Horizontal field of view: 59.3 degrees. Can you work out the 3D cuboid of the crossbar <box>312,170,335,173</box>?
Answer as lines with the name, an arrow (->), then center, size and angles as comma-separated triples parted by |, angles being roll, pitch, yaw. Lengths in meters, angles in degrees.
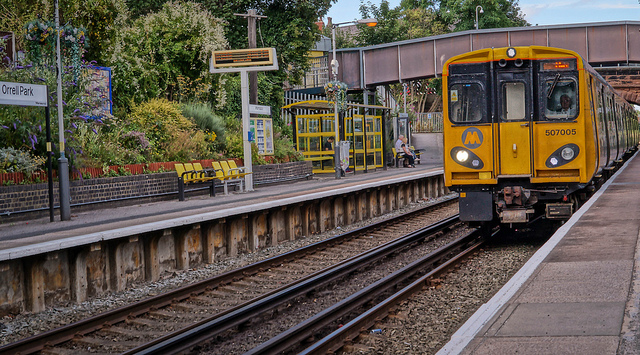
crossbar -> 0.223, -0.352, 31.569 | 1.212, 0.179, 0.128 | 0, 0, 26

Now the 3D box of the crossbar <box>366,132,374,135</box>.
crossbar -> 2.780, -2.469, 31.618 | 0.040, 0.208, 0.788 | 7, 15, 33

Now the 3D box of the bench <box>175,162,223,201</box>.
bench -> -4.967, 0.127, 22.579 | 0.827, 1.405, 2.220 | 2, 3, 19

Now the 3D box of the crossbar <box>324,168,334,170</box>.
crossbar -> 0.481, -0.486, 31.652 | 0.423, 0.078, 0.107 | -1, 7, 10

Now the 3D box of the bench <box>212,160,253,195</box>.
bench -> -3.823, -0.018, 23.856 | 0.765, 1.378, 2.236 | -1, 3, 21

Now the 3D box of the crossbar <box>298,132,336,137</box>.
crossbar -> -0.108, -2.416, 31.244 | 2.228, 0.317, 0.167 | 0, -1, 6

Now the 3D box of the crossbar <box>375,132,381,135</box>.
crossbar -> 3.282, -2.520, 32.351 | 0.043, 0.190, 0.696 | 6, 14, 30

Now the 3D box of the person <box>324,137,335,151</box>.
person -> 0.447, -1.861, 31.272 | 0.593, 1.010, 0.674 | 2, 28, 4

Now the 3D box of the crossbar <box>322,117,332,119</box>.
crossbar -> 0.366, -3.270, 31.087 | 0.518, 0.077, 0.087 | -1, 12, 0

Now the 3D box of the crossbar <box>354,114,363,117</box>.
crossbar -> 2.057, -3.349, 30.654 | 0.459, 0.123, 0.077 | -5, 13, -19

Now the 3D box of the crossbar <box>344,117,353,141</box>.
crossbar -> 1.513, -2.673, 30.931 | 0.420, 1.224, 0.307 | 0, 12, 6

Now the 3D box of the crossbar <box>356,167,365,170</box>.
crossbar -> 2.204, -0.478, 31.494 | 0.456, 0.135, 0.220 | -4, 13, -12

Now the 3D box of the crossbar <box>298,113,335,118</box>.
crossbar -> -0.306, -3.420, 31.223 | 1.993, 0.225, 0.187 | 3, 13, 15

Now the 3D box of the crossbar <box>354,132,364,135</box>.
crossbar -> 2.123, -2.411, 30.837 | 0.716, 0.091, 0.160 | -4, 10, -25

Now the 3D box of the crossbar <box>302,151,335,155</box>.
crossbar -> -0.095, -1.368, 31.417 | 1.604, 0.191, 0.182 | 0, 13, 5
